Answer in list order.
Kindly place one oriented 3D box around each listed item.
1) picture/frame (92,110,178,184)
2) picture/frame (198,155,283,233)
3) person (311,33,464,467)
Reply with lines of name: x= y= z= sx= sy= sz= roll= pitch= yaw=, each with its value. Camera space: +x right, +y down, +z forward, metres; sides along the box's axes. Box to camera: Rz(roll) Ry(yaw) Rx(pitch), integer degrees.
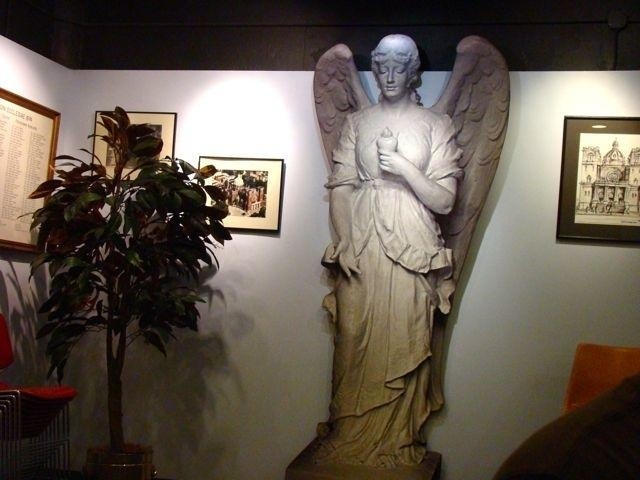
picture/frame: x=-1.236 y=-0.615 z=3.335 sx=0.573 sy=0.662 sz=0.023 roll=1 pitch=-6 yaw=-4
picture/frame: x=-0.538 y=-0.303 z=3.497 sx=0.488 sy=0.486 sz=0.024 roll=2 pitch=2 yaw=10
person: x=0.372 y=0.061 z=3.067 sx=1.085 sy=2.598 sz=0.546 roll=-9 pitch=6 yaw=-20
